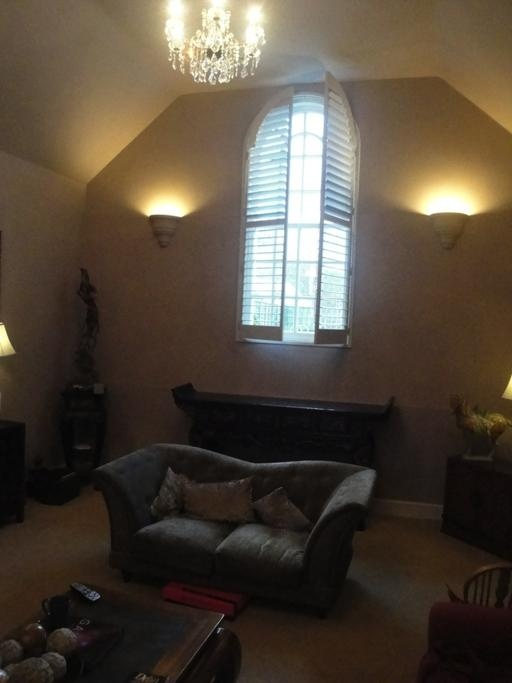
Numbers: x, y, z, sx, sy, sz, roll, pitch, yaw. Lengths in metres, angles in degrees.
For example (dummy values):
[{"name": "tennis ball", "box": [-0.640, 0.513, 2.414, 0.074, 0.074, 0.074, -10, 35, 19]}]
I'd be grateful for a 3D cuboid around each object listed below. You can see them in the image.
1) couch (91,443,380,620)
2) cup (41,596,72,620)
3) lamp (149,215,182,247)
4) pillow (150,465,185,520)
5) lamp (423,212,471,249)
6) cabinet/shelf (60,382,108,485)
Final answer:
[{"name": "couch", "box": [-0.085, 0.945, 3.046, 1.366, 0.598, 0.639, 3, 5, 18]}, {"name": "cup", "box": [-0.729, 0.969, 2.160, 0.100, 0.077, 0.073, -1, -3, 9]}, {"name": "lamp", "box": [-0.710, -0.827, 4.505, 0.220, 0.181, 0.238, -2, -1, 41]}, {"name": "pillow", "box": [-0.468, 0.829, 3.215, 0.134, 0.215, 0.051, 26, -45, -8]}, {"name": "lamp", "box": [1.285, -0.726, 3.848, 0.233, 0.196, 0.226, 0, -2, 6]}, {"name": "cabinet/shelf", "box": [-1.382, 0.701, 4.552, 0.392, 0.766, 0.501, 3, 5, 15]}]
